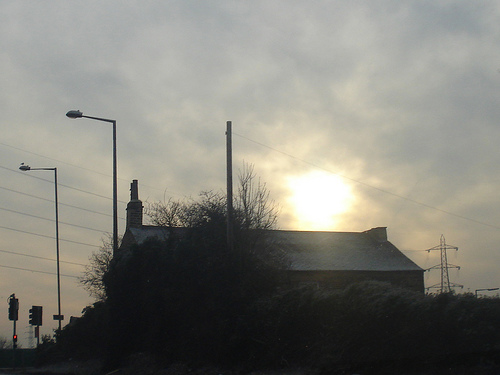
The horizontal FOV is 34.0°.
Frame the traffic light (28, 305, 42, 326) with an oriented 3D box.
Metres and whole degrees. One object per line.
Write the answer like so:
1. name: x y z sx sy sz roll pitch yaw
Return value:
1. traffic light: -12.058 7.267 45.973 0.817 1.064 0.598 16 -25 -40
